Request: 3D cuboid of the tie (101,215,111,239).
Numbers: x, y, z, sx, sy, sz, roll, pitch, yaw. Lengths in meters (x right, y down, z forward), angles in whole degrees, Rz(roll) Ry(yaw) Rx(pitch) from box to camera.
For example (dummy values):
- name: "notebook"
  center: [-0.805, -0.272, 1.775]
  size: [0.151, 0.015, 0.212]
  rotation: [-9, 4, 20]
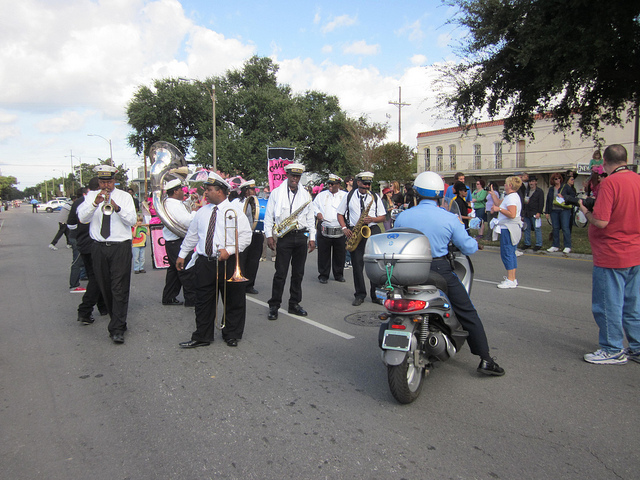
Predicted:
- name: "tie"
  center: [-3.170, -0.205, 6.601]
  size: [0.133, 0.330, 0.077]
  rotation: [-4, 10, -22]

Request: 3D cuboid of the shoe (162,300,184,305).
- name: "shoe"
  center: [-2.760, 1.194, 8.374]
  size: [0.363, 0.160, 0.125]
  rotation: [-2, 3, -15]

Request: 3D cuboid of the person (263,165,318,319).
- name: "person"
  center: [-0.474, 0.022, 7.602]
  size: [0.837, 2.545, 0.620]
  rotation: [1, 5, -1]

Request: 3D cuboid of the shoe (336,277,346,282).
- name: "shoe"
  center: [0.501, 0.912, 10.142]
  size: [0.171, 0.062, 0.191]
  rotation: [-3, 10, -11]

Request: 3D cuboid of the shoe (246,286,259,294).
- name: "shoe"
  center: [-1.362, 1.042, 9.193]
  size: [0.299, 0.137, 0.100]
  rotation: [2, 7, -39]

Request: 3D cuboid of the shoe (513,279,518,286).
- name: "shoe"
  center: [4.042, 0.884, 9.166]
  size: [0.115, 0.118, 0.089]
  rotation: [1, 0, -29]

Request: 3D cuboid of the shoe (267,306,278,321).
- name: "shoe"
  center: [-0.784, 1.206, 7.438]
  size: [0.159, 0.204, 0.287]
  rotation: [-2, 9, -5]

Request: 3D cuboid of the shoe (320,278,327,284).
- name: "shoe"
  center: [0.084, 0.918, 9.939]
  size: [0.155, 0.097, 0.158]
  rotation: [-1, 9, -1]

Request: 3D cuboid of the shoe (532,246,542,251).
- name: "shoe"
  center: [6.496, 0.262, 13.277]
  size: [0.116, 0.142, 0.316]
  rotation: [5, 0, 28]

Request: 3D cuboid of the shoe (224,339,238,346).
- name: "shoe"
  center: [-1.242, 1.441, 6.263]
  size: [0.164, 0.089, 0.101]
  rotation: [-3, 10, -12]

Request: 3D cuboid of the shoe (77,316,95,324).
- name: "shoe"
  center: [-3.855, 1.299, 7.322]
  size: [0.250, 0.126, 0.305]
  rotation: [-6, 11, -30]

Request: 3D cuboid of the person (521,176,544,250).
- name: "person"
  center: [6.628, -0.861, 13.827]
  size: [0.642, 2.195, 1.530]
  rotation: [4, 10, 25]

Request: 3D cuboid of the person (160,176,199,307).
- name: "person"
  center: [-2.503, -0.044, 8.050]
  size: [0.812, 2.522, 0.742]
  rotation: [-4, -4, -4]

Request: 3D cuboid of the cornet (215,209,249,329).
- name: "cornet"
  center: [-1.201, 0.380, 6.241]
  size: [0.371, 1.601, 0.393]
  rotation: [-1, 3, 2]

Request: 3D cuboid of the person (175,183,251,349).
- name: "person"
  center: [-1.497, 0.334, 6.240]
  size: [1.040, 2.494, 0.726]
  rotation: [-1, 8, -9]

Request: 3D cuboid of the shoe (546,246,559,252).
- name: "shoe"
  center: [6.794, 0.276, 12.978]
  size: [0.322, 0.155, 0.123]
  rotation: [-2, 5, -3]

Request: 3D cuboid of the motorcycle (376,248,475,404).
- name: "motorcycle"
  center: [1.053, 1.079, 4.826]
  size: [1.033, 1.279, 0.435]
  rotation: [-7, 11, -35]

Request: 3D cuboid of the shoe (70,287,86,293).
- name: "shoe"
  center: [-5.125, 1.056, 9.489]
  size: [0.297, 0.078, 0.298]
  rotation: [4, 11, 29]

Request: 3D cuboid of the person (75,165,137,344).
- name: "person"
  center: [-3.107, 0.157, 6.668]
  size: [0.708, 2.521, 1.130]
  rotation: [-8, 11, -37]

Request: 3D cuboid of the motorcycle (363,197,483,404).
- name: "motorcycle"
  center: [1.226, 0.603, 5.251]
  size: [0.942, 1.536, 1.956]
  rotation: [1, 8, 24]

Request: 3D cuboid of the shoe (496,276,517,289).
- name: "shoe"
  center: [3.811, 0.908, 9.022]
  size: [0.402, 0.290, 0.144]
  rotation: [0, -4, 17]

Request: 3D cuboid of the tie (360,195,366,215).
- name: "tie"
  center: [0.859, -0.733, 8.886]
  size: [0.057, 0.267, 0.179]
  rotation: [-4, 15, 1]

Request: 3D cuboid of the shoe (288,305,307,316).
- name: "shoe"
  center: [-0.372, 1.201, 7.641]
  size: [0.306, 0.158, 0.140]
  rotation: [5, 7, 24]

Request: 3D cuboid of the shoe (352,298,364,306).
- name: "shoe"
  center: [0.677, 1.138, 8.072]
  size: [0.084, 0.102, 0.227]
  rotation: [-1, -1, 24]

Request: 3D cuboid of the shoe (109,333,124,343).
- name: "shoe"
  center: [-2.915, 1.409, 6.395]
  size: [0.175, 0.124, 0.148]
  rotation: [-3, 10, -13]

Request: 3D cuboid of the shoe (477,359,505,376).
- name: "shoe"
  center: [1.996, 1.496, 5.251]
  size: [0.332, 0.172, 0.147]
  rotation: [9, 1, -17]

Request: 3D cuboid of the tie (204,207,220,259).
- name: "tie"
  center: [-1.489, -0.107, 6.164]
  size: [0.119, 0.654, 0.230]
  rotation: [4, 10, 26]
